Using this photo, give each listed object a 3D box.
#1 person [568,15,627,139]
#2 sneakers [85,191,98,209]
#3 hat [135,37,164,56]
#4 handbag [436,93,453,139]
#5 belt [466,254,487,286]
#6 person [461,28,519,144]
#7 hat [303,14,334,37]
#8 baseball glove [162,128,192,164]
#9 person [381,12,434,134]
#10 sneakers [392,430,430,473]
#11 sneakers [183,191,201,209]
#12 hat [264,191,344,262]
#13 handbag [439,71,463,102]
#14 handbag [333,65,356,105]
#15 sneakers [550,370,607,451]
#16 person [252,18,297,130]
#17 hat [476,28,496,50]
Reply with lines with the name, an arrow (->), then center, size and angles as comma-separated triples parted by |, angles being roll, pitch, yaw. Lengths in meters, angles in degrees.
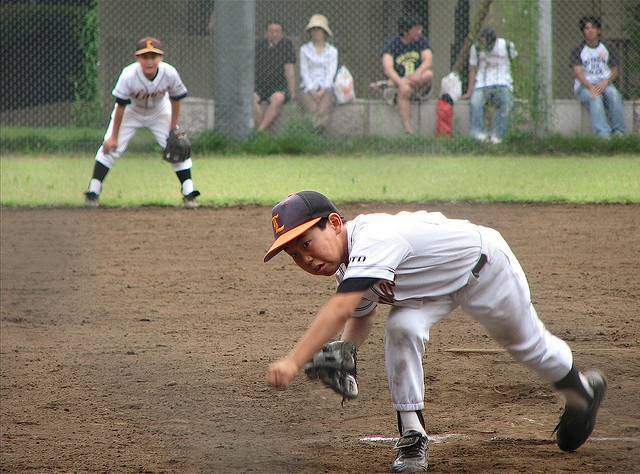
person -> 3.176, -1.807, 14.784 | 0.531, 1.258, 0.753 | -3, 11, -2
sneakers -> -2.354, -0.376, 13.309 | 0.154, 0.151, 0.109 | 11, 14, -35
hat -> -1.746, -1.904, 13.189 | 0.210, 0.148, 0.284 | -2, -11, -3
handbag -> 1.491, -1.444, 15.604 | 0.217, 0.481, 0.220 | -1, 11, 5
belt -> 1.134, 0.225, 9.230 | 0.047, 0.177, 0.124 | 26, -1, -20
person -> 1.966, -1.757, 15.170 | 0.352, 1.252, 0.807 | -10, 14, -33
hat -> -0.022, -2.523, 15.697 | 0.225, 0.176, 0.304 | 3, -3, 3
baseball glove -> -1.456, -1.000, 13.422 | 0.293, 0.134, 0.389 | -20, 48, 2
person -> 1.047, -1.938, 15.698 | 0.594, 1.380, 0.353 | -3, 11, -4
sneakers -> 0.631, 1.473, 9.211 | 0.250, 0.264, 0.176 | -1, 11, 4
sneakers -> -1.303, -0.383, 13.418 | 0.129, 0.207, 0.205 | -2, 16, -43
hat -> -0.188, -0.133, 9.230 | 0.630, 0.350, 0.447 | -25, -4, -41
handbag -> 1.594, -1.803, 15.625 | 0.286, 0.215, 0.285 | -4, -11, -42
handbag -> 0.269, -1.820, 15.726 | 0.252, 0.447, 0.174 | -2, 11, -1
sneakers -> 1.831, 1.221, 9.317 | 0.242, 0.624, 0.269 | -3, -36, 46
person -> -0.569, -1.915, 15.895 | 0.538, 1.255, 0.348 | -3, 11, -4
hat -> 1.940, -2.268, 15.157 | 0.227, 0.244, 0.086 | 6, 14, 36
